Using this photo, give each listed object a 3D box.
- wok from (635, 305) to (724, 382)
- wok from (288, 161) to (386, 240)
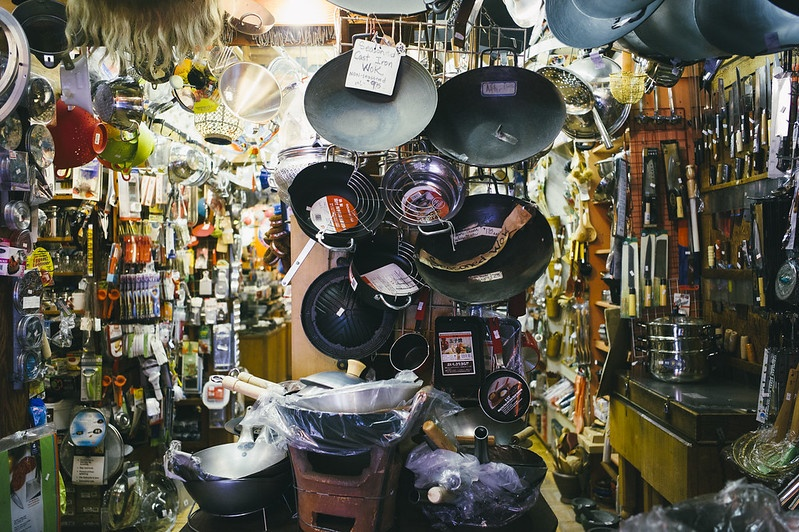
[{"bbox_3d":[1.799,0.481,4.724,0.355,0.441,0.537,-1,0,-44],"label":"wok"},{"bbox_3d":[-0.392,-0.391,3.921,0.373,0.111,0.448,-22,-23,27],"label":"wok"}]
